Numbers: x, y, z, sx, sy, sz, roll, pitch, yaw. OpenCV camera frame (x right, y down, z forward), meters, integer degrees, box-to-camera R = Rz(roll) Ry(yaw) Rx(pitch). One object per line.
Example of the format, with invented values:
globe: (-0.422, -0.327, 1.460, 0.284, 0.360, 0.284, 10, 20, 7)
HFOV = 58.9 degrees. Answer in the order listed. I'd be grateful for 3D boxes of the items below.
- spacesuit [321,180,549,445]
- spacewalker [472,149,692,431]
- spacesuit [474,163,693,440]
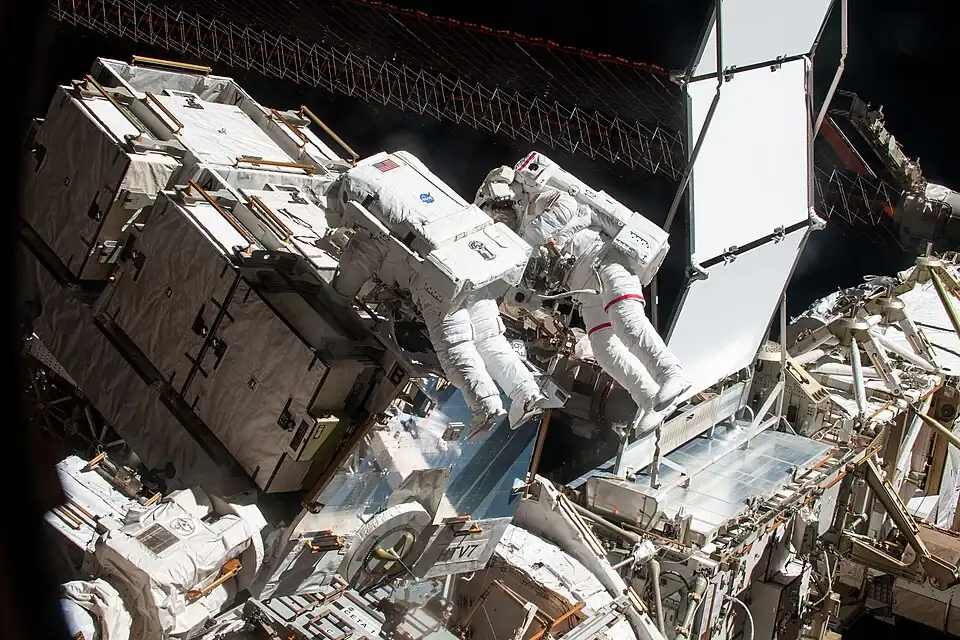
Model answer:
spacesuit: (-0.586, 0.074, 7.770, 1.599, 0.705, 2.434, -30, 71, -36)
spacewalker: (0.841, -0.219, 9.022, 2.995, 1.414, 1.913, 37, 40, -1)
spacesuit: (1.173, -0.444, 9.077, 2.954, 1.187, 1.804, 40, -7, 22)
